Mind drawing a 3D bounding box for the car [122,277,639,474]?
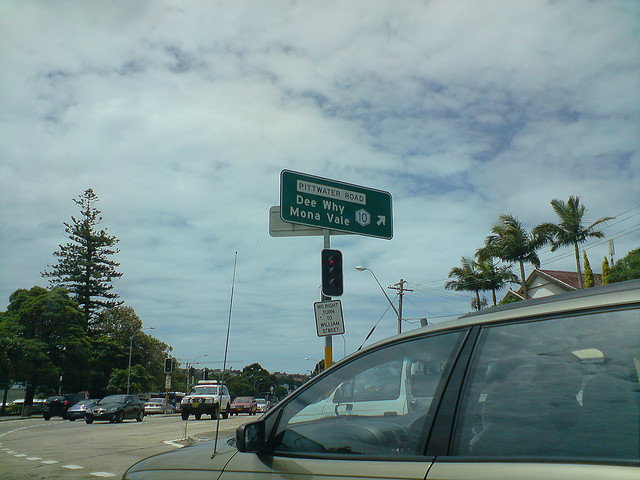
[{"bbox_3d":[0.577,0.675,3.464,2.003,0.849,1.166,-6,-12,30],"label":"car"}]

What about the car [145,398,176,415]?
[{"bbox_3d":[-10.319,10.537,41.749,1.489,0.876,3.098,-2,-14,6],"label":"car"}]

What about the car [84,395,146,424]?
[{"bbox_3d":[-8.512,6.981,26.939,1.201,0.786,2.568,-4,-23,3],"label":"car"}]
